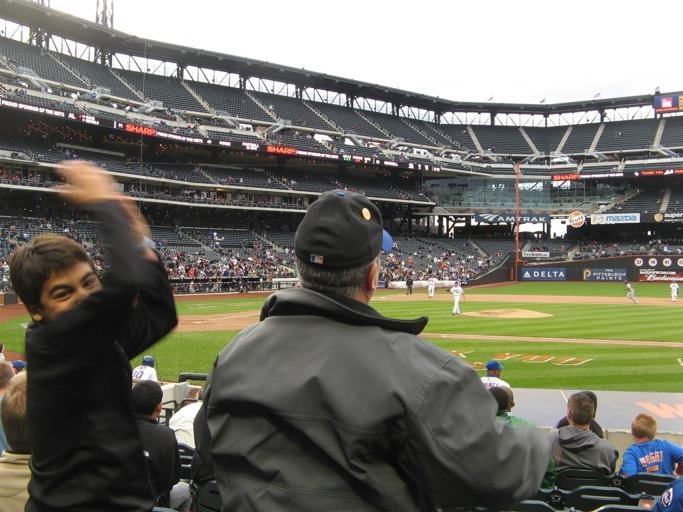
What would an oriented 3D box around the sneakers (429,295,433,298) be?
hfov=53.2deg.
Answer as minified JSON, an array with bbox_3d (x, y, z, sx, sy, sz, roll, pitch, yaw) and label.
[{"bbox_3d":[4.756,2.148,36.277,0.169,0.180,0.483,1,-13,4],"label":"sneakers"}]

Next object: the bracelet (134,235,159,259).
[{"bbox_3d":[-1.235,-0.055,4.339,0.121,0.139,0.063,19,46,23],"label":"bracelet"}]

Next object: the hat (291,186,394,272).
[{"bbox_3d":[0.039,-0.203,4.293,0.484,0.282,0.574,8,19,16],"label":"hat"}]

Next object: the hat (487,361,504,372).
[{"bbox_3d":[2.184,1.589,9.777,0.187,0.123,0.288,4,9,41],"label":"hat"}]
